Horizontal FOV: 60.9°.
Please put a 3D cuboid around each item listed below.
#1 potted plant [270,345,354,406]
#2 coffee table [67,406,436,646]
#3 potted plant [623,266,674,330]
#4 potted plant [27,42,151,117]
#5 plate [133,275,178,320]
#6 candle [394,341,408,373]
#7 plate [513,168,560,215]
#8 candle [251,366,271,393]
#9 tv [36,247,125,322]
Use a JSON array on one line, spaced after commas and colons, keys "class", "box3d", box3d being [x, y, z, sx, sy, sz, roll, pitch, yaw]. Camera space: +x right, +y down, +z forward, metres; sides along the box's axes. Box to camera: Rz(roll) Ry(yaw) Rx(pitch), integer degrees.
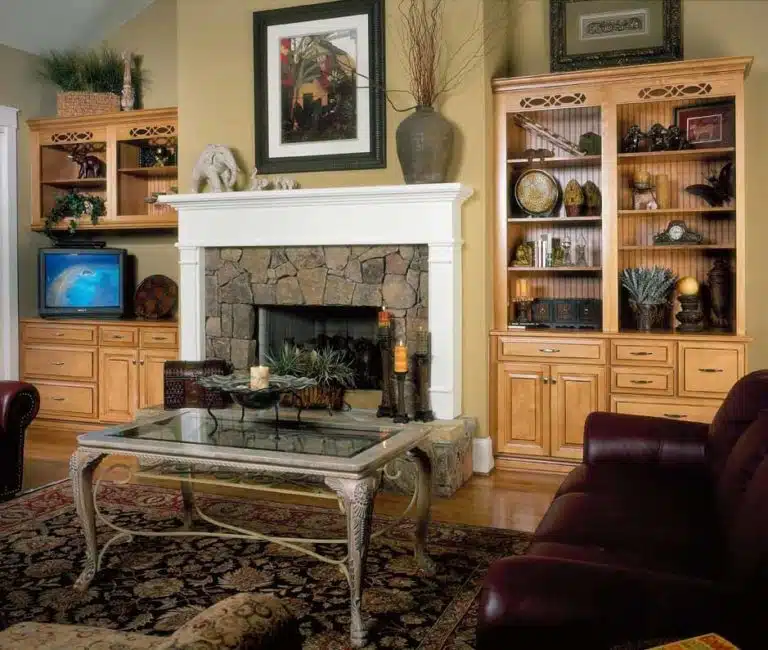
[{"class": "potted plant", "box3d": [-0.498, 0.350, 4.860, 0.662, 0.384, 0.468, 1, 0, 13]}, {"class": "coffee table", "box3d": [-0.572, 0.827, 3.001, 1.454, 0.673, 0.840, 1, 5, 20]}, {"class": "potted plant", "box3d": [1.859, -0.194, 4.648, 0.374, 0.454, 0.366, 2, 6, 22]}, {"class": "potted plant", "box3d": [-2.764, -2.328, 6.147, 0.998, 0.621, 0.473, 2, 6, 30]}, {"class": "plate", "box3d": [-2.073, -0.233, 6.137, 0.477, 0.384, 0.141, 11, -10, 11]}, {"class": "candle", "box3d": [0.109, 0.207, 4.121, 0.065, 0.184, 0.153, 0, 5, 7]}, {"class": "plate", "box3d": [1.090, -0.953, 4.726, 0.392, 0.315, 0.150, 3, 12, 24]}, {"class": "candle", "box3d": [-0.606, 0.265, 3.154, 0.119, 0.107, 0.112, -1, 8, -17]}, {"class": "tv", "box3d": [-2.753, -0.377, 5.981, 0.888, 0.633, 0.321, 0, 0, -3]}]
